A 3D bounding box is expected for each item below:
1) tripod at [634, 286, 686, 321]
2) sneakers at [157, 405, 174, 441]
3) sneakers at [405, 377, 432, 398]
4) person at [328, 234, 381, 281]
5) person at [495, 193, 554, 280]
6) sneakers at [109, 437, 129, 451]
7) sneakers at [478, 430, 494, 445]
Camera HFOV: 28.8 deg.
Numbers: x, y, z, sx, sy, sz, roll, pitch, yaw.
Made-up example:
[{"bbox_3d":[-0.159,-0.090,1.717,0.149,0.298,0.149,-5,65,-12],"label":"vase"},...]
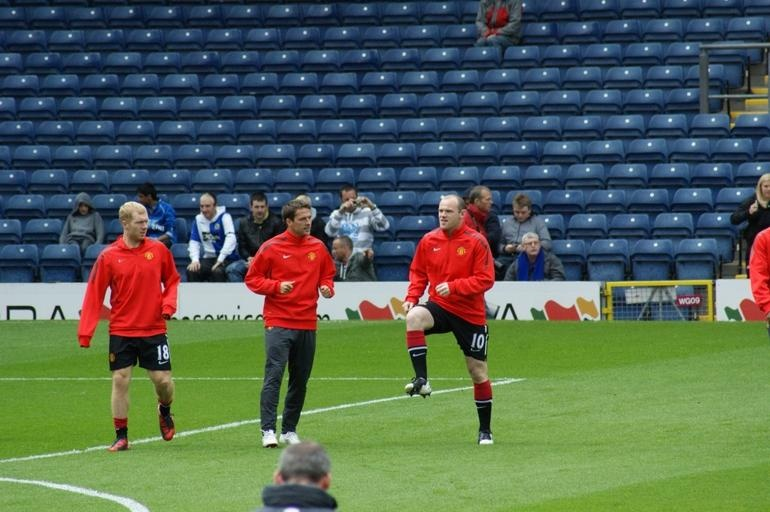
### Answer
[{"bbox_3d":[5.374,0.963,29.271,1.199,1.011,0.620,0,-3,11],"label":"tripod"},{"bbox_3d":[-3.414,2.607,23.406,0.231,0.584,0.274,-14,16,-22],"label":"sneakers"},{"bbox_3d":[0.502,2.055,22.983,0.546,0.267,0.196,16,-26,-36],"label":"sneakers"},{"bbox_3d":[-0.619,0.048,29.464,0.752,0.730,0.240,-30,-3,10],"label":"person"},{"bbox_3d":[2.607,-0.303,29.512,1.288,1.625,1.124,-2,2,32],"label":"person"},{"bbox_3d":[-4.078,2.933,23.103,0.305,0.157,0.148,4,-4,-7],"label":"sneakers"},{"bbox_3d":[1.542,2.827,23.091,0.184,0.173,0.469,0,-8,0],"label":"sneakers"}]
